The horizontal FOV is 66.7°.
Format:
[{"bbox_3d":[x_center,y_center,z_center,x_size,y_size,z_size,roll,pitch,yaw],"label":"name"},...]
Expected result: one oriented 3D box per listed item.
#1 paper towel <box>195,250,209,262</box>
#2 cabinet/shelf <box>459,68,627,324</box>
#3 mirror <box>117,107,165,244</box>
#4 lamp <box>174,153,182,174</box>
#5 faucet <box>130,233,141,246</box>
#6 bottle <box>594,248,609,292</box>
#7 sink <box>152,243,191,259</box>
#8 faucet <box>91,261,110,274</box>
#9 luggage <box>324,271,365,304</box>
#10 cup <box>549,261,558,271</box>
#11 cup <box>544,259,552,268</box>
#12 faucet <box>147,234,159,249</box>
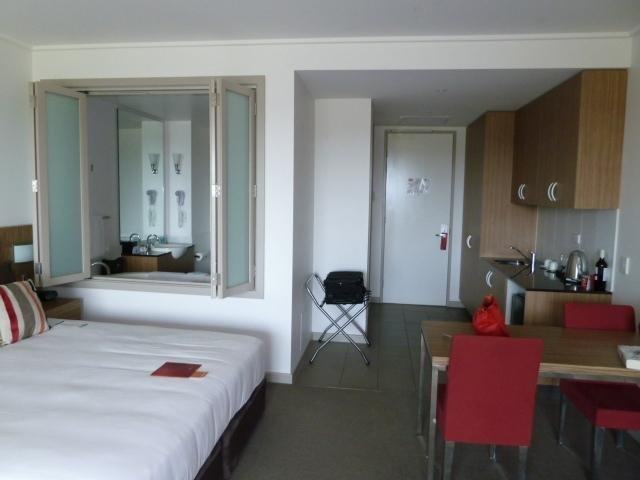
[{"bbox_3d":[-1.794,0.277,7.320,0.185,0.166,0.283,0,6,-8],"label":"paper towel"},{"bbox_3d":[2.288,-0.461,4.910,0.591,2.168,2.247,2,7,10],"label":"cabinet/shelf"},{"bbox_3d":[-2.557,-0.856,6.765,0.416,1.704,0.891,2,6,18],"label":"mirror"},{"bbox_3d":[-2.077,-1.105,7.098,0.135,0.302,0.074,-1,6,-15],"label":"lamp"},{"bbox_3d":[-2.482,0.000,6.538,0.139,0.220,0.150,-2,7,-5],"label":"faucet"},{"bbox_3d":[2.562,0.279,4.427,0.098,0.357,0.259,4,7,30],"label":"bottle"},{"bbox_3d":[-2.127,0.173,6.775,0.381,0.182,0.822,1,6,10],"label":"sink"},{"bbox_3d":[-2.622,0.347,5.846,0.161,0.251,0.144,2,5,6],"label":"faucet"},{"bbox_3d":[0.283,0.557,5.403,0.469,0.335,0.561,1,6,5],"label":"luggage"},{"bbox_3d":[2.524,0.296,5.237,0.074,0.105,0.109,0,0,1],"label":"cup"},{"bbox_3d":[2.476,0.260,5.304,0.083,0.119,0.112,1,5,45],"label":"cup"},{"bbox_3d":[-2.347,0.036,6.829,0.181,0.257,0.157,2,5,18],"label":"faucet"}]
